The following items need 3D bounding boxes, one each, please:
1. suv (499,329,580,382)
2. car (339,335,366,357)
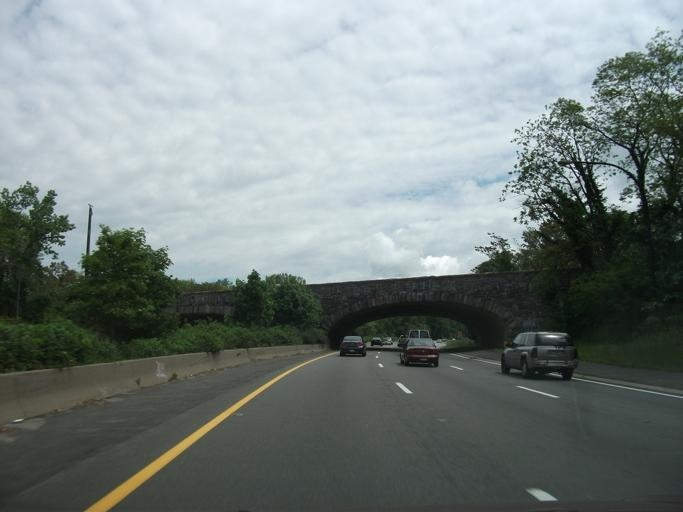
[{"bbox_3d":[7.454,3.775,22.369,1.528,1.225,3.182,3,-7,-5],"label":"suv"},{"bbox_3d":[0.744,6.153,39.484,1.531,1.426,1.819,-7,-7,6],"label":"car"}]
